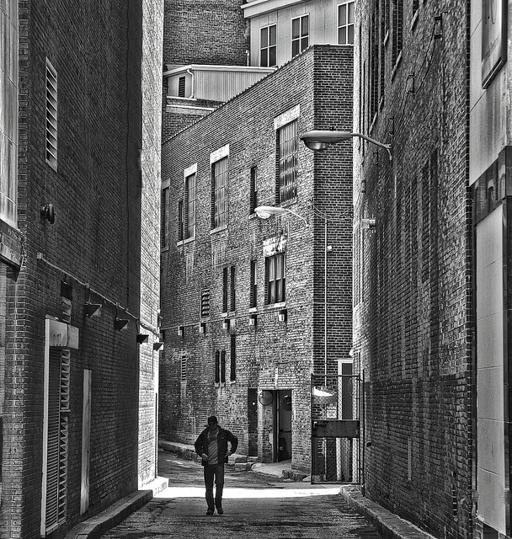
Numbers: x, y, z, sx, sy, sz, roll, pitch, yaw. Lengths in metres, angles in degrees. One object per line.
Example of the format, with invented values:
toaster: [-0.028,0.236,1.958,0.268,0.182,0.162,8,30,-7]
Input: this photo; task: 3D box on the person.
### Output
person: [-0.747,3.737,18.363,0.763,1.811,0.776,0,-11,-5]

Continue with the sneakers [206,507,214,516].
sneakers: [-0.852,4.553,18.278,0.092,0.146,0.116,1,-1,-3]
